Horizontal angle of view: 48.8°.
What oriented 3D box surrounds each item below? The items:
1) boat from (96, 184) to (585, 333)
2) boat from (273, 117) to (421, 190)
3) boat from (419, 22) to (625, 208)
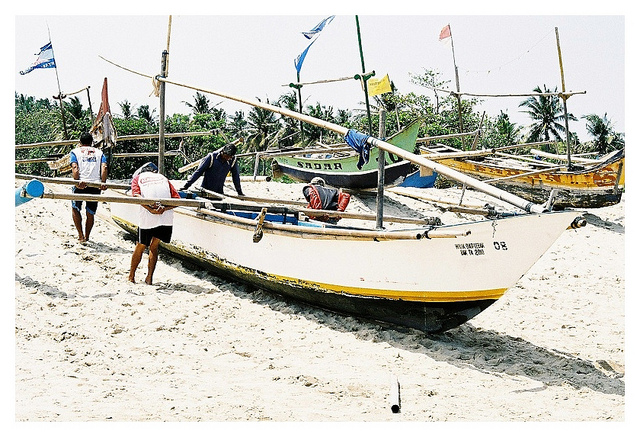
[{"bbox_3d":[0.141,0.581,10.071,6.938,1.357,1.241,3,-9,43],"label":"boat"},{"bbox_3d":[0.592,-1.551,17.609,4.798,1.673,1.466,5,18,40],"label":"boat"},{"bbox_3d":[4.751,-2.667,18.469,1.868,4.361,8.073,-18,17,-23],"label":"boat"}]
